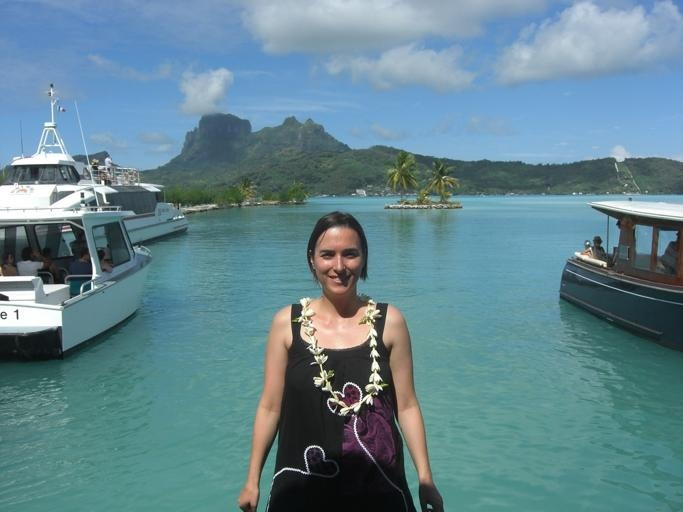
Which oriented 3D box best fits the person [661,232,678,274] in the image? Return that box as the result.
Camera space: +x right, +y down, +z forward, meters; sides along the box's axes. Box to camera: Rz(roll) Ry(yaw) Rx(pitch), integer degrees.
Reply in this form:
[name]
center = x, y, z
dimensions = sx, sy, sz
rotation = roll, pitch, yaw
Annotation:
[person]
center = 9.819, -0.064, 13.639
dimensions = 0.310, 1.139, 0.519
rotation = 2, 11, 9
